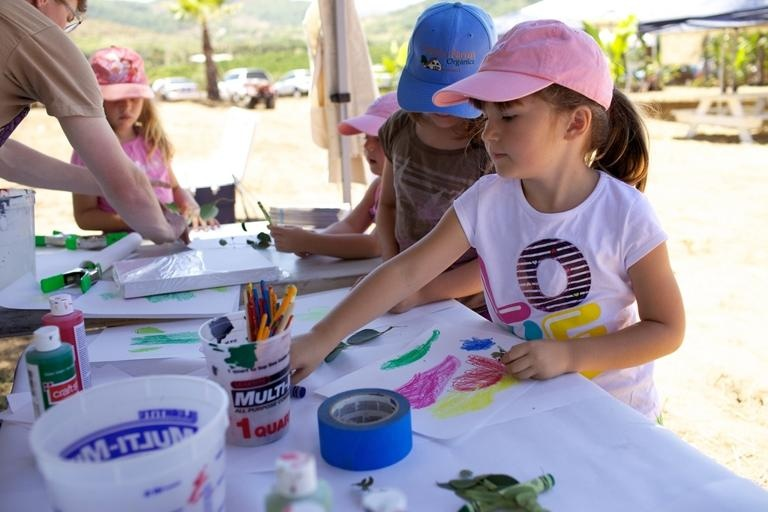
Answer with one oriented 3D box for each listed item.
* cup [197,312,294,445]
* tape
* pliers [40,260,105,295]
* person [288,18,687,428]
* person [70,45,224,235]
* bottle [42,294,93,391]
[{"bbox_3d":[-0.287,0.281,1.567,0.199,0.251,0.279,-5,11,-20],"label":"cup"},{"bbox_3d":[-0.040,0.372,1.450,0.197,0.116,0.133,-4,22,-8],"label":"tape"},{"bbox_3d":[-1.023,0.048,2.236,0.185,0.094,0.173,-3,17,-11],"label":"pliers"},{"bbox_3d":[0.383,-0.104,1.906,0.629,1.277,0.830,7,13,41],"label":"person"},{"bbox_3d":[-1.206,-0.634,3.368,0.678,1.105,0.658,-3,20,-13],"label":"person"},{"bbox_3d":[-0.730,0.195,1.633,0.125,0.216,0.135,-2,6,0],"label":"bottle"}]
